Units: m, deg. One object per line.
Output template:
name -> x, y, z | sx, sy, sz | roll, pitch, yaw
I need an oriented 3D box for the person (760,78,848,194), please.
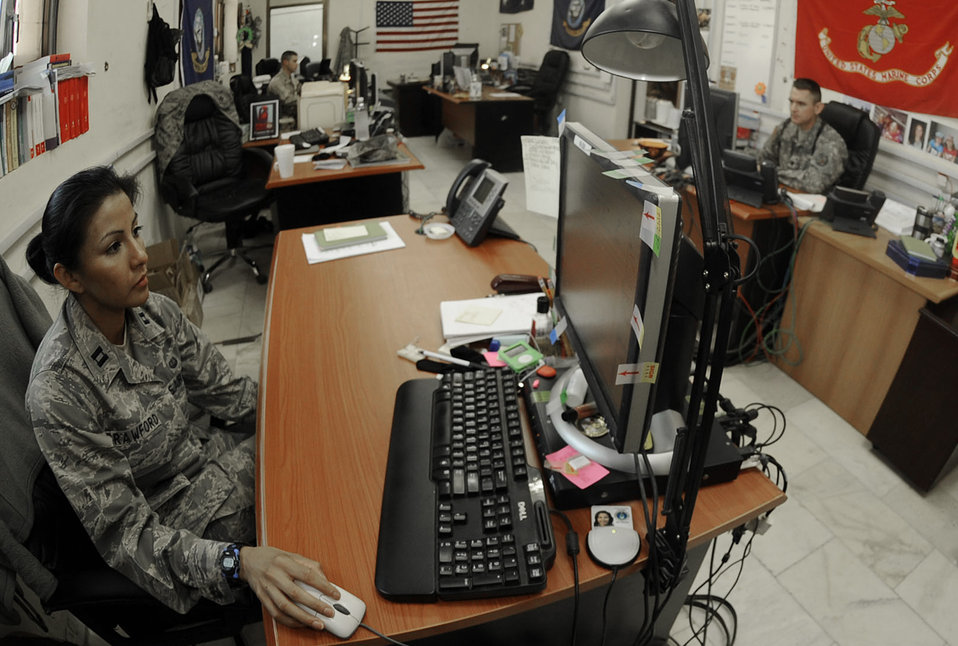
person -> 1.993, -1.147, 4.058 | 0.406, 0.690, 0.732 | -9, 26, -1

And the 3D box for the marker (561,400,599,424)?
marker -> 0.302, 0.272, 1.950 | 0.144, 0.046, 0.044 | -1, 31, -2

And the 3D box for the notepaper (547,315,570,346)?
notepaper -> 0.261, 0.026, 2.177 | 0.025, 0.076, 0.114 | 8, 18, -11

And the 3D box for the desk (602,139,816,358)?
desk -> 0.913, -0.248, 2.408 | 0.514, 0.729, 0.999 | -6, 24, -15

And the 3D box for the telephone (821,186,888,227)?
telephone -> 1.997, -0.636, 3.495 | 0.243, 0.176, 0.253 | 3, 23, 12

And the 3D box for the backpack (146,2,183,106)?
backpack -> -2.220, -1.863, 4.524 | 0.189, 0.625, 0.447 | -2, 30, -5

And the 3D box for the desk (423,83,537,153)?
desk -> 0.126, -2.281, 7.078 | 0.771, 0.580, 1.194 | -8, 32, -17

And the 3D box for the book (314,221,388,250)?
book -> -0.586, -0.397, 2.993 | 0.251, 0.043, 0.154 | -12, 36, -19

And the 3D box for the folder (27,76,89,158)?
folder -> -2.009, -0.997, 3.085 | 0.119, 0.423, 0.302 | -4, 14, 0

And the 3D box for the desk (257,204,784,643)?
desk -> -0.189, 0.640, 2.637 | 1.129, 0.528, 2.236 | -6, 51, -12

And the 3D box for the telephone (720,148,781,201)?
telephone -> 1.483, -0.820, 3.621 | 0.194, 0.253, 0.344 | -25, 36, -22

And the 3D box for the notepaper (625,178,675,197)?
notepaper -> 0.429, -0.331, 1.607 | 0.068, 0.018, 0.062 | 4, 18, -23

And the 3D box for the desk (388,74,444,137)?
desk -> -0.823, -2.747, 8.369 | 0.927, 0.970, 0.719 | -4, 25, -10

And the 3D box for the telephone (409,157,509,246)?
telephone -> -0.093, -0.574, 3.061 | 0.345, 0.301, 0.495 | -10, 32, -29

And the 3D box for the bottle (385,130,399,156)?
bottle -> -0.599, -1.238, 4.482 | 0.063, 0.086, 0.219 | -4, 52, -12

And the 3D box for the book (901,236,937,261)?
book -> 2.130, -0.338, 3.137 | 0.125, 0.033, 0.135 | 6, 33, -8
